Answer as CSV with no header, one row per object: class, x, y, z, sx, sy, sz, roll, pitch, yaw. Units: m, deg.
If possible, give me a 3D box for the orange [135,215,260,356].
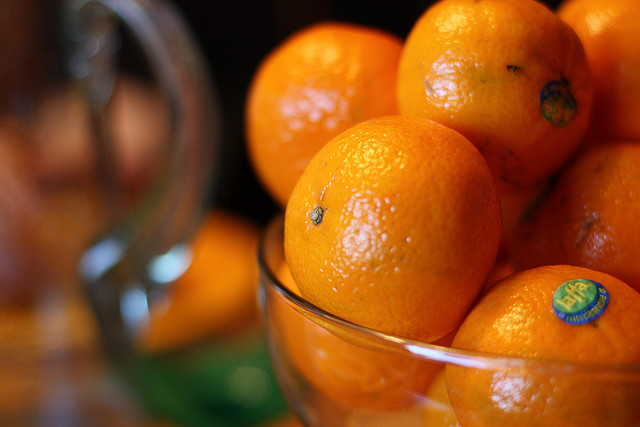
orange,-0.136,0.093,0.795,0.122,0.124,0.182,10,12,3
